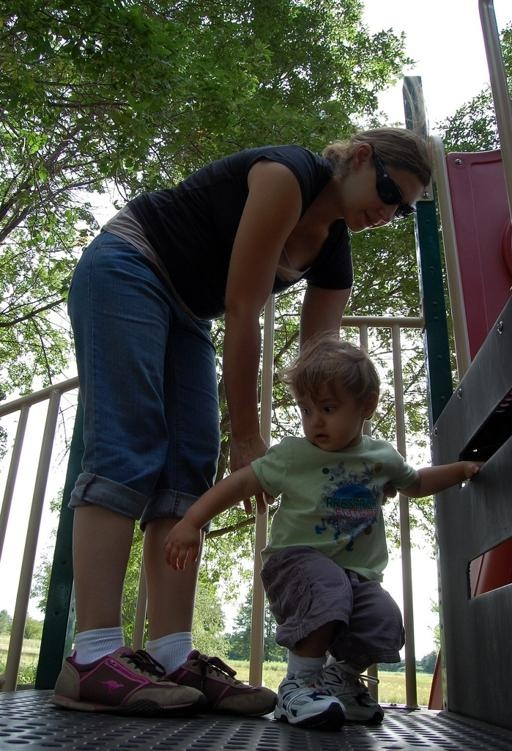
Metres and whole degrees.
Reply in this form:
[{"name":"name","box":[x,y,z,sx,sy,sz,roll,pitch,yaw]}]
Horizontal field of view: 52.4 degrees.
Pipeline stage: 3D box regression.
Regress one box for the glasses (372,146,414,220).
[{"name":"glasses","box":[0.284,-0.413,1.113,0.032,0.108,0.109,-17,-18,17]}]

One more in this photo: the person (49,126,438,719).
[{"name":"person","box":[-0.016,0.075,1.067,0.749,1.162,0.443,0,-8,16]}]

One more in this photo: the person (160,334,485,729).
[{"name":"person","box":[0.160,0.283,1.037,0.537,0.726,0.334,16,-27,-23]}]

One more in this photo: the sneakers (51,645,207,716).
[{"name":"sneakers","box":[-0.204,0.485,0.827,0.237,0.099,0.086,-6,-34,15]}]

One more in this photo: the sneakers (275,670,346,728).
[{"name":"sneakers","box":[0.079,0.513,0.828,0.074,0.092,0.199,17,-34,-8]}]
